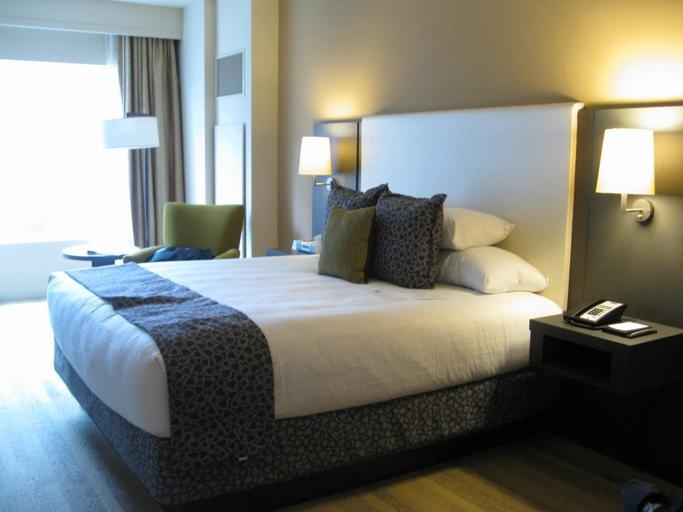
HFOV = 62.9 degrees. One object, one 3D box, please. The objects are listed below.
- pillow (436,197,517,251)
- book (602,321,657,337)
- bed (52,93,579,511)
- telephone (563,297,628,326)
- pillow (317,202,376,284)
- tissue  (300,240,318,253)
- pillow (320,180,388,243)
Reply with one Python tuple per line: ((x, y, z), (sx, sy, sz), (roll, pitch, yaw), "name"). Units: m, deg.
((0.803, -0.222, 3.502), (0.301, 0.148, 0.314), (-4, 13, -20), "pillow")
((1.427, 0.358, 2.764), (0.249, 0.036, 0.173), (-6, 13, -34), "book")
((-0.128, 0.309, 3.432), (2.247, 1.887, 2.388), (-3, 13, -25), "bed")
((1.298, 0.294, 2.876), (0.258, 0.109, 0.191), (-4, 12, -26), "telephone")
((0.044, -0.070, 3.548), (0.167, 0.401, 0.471), (-3, 9, -25), "pillow")
((-0.280, -0.073, 4.763), (0.103, 0.067, 0.145), (-1, 9, -22), "tissue ")
((0.098, -0.296, 3.751), (0.139, 0.357, 0.480), (10, 5, -28), "pillow")
